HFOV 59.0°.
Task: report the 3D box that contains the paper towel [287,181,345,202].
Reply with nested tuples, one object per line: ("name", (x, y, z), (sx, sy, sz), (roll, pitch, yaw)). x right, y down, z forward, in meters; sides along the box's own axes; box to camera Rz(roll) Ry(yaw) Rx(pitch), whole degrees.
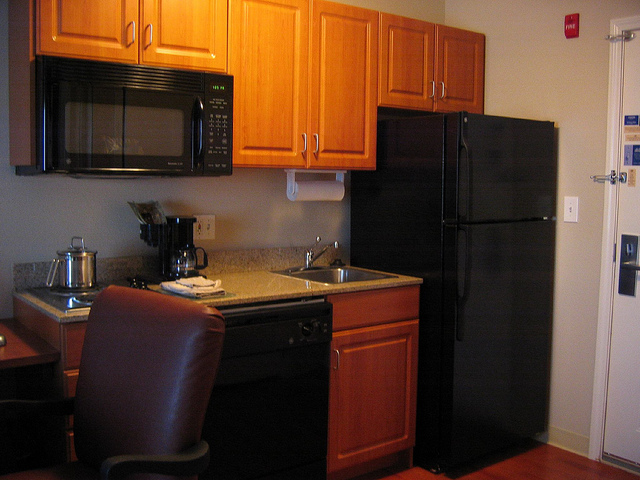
("paper towel", (-0.003, -0.283, 3.246), (0.268, 0.119, 0.111), (-7, -7, -30))

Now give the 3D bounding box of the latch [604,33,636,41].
("latch", (1.664, -1.119, 3.114), (0.075, 0.022, 0.061), (-3, 7, -28))

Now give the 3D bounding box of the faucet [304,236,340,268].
("faucet", (0.016, 0.070, 3.432), (0.220, 0.183, 0.334), (-1, 8, 0))

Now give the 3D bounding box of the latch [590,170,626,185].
("latch", (1.628, -0.355, 3.188), (0.182, 0.080, 0.025), (6, 9, 40))

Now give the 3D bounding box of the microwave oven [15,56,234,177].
("microwave oven", (-0.852, -0.551, 2.542), (0.845, 0.504, 0.510), (-3, 5, -42))

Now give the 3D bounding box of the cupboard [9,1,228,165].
("cupboard", (-0.961, -0.738, 2.582), (1.018, 0.766, 0.443), (0, 7, 1))

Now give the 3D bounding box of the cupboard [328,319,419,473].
("cupboard", (0.232, 0.760, 3.147), (0.455, 0.799, 0.468), (0, 2, -32))

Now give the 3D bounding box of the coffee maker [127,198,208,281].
("coffee maker", (-0.768, 0.000, 2.891), (0.302, 0.473, 0.243), (-3, 14, -44))
